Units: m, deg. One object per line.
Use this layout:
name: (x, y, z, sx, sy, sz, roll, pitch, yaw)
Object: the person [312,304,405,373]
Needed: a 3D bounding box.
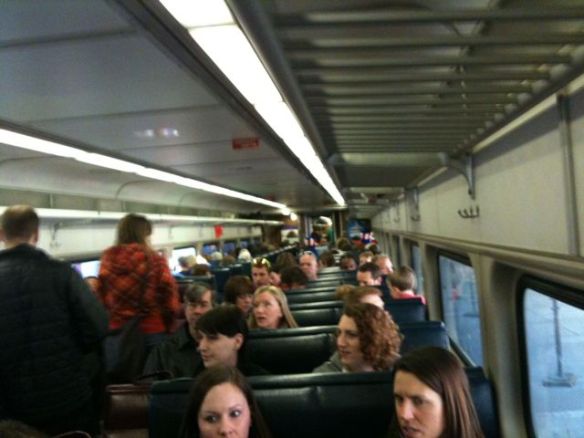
person: (0.603, 1.061, 3.997, 0.629, 0.676, 0.627, -4, -22, 5)
